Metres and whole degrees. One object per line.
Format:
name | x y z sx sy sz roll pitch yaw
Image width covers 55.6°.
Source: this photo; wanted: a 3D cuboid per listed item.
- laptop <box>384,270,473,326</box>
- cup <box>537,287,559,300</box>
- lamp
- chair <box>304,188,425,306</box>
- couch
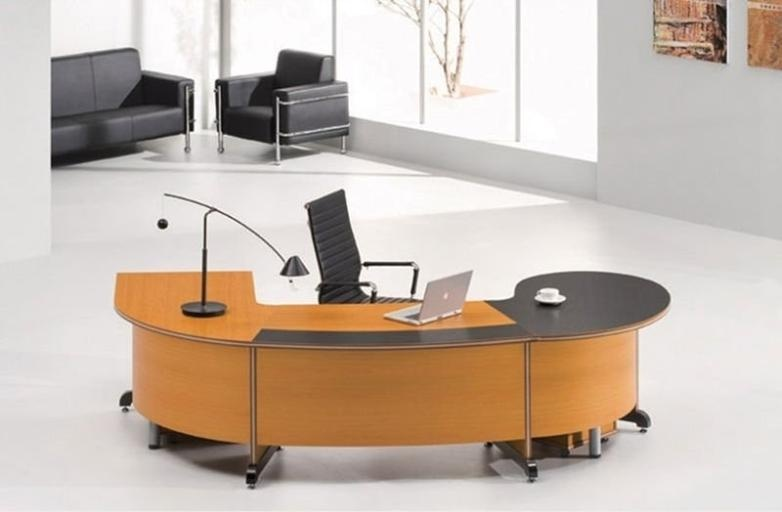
laptop | 0.234 0.207 4.322 0.355 0.279 0.429 13 20 41
cup | 0.972 0.229 4.534 0.097 0.040 0.076 -1 5 -17
lamp | -0.941 -0.001 4.443 0.956 0.686 0.266 2 6 5
chair | -0.146 0.053 5.339 0.865 0.908 0.743 0 14 6
couch | -4.114 -2.156 10.671 1.172 1.179 2.459 23 28 22
